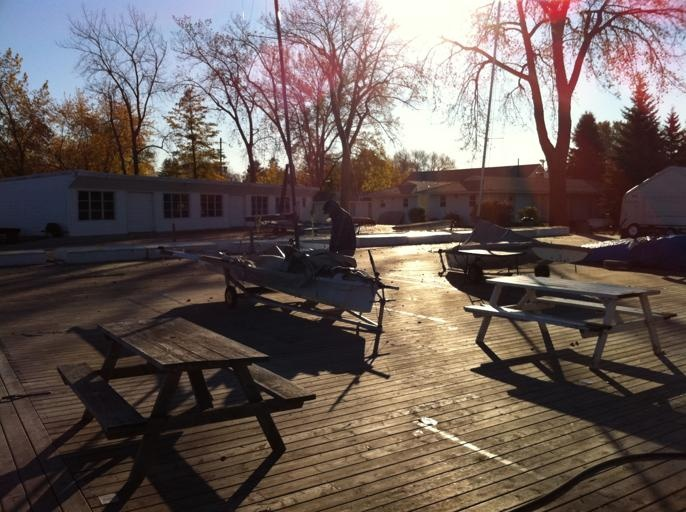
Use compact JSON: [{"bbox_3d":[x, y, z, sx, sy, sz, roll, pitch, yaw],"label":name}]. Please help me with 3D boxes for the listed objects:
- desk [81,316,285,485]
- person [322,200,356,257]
[{"bbox_3d":[-1.271,1.269,3.569,1.018,0.606,1.738,4,1,-35],"label":"desk"},{"bbox_3d":[-0.043,-0.522,8.799,0.610,1.135,0.853,0,7,-2],"label":"person"}]
